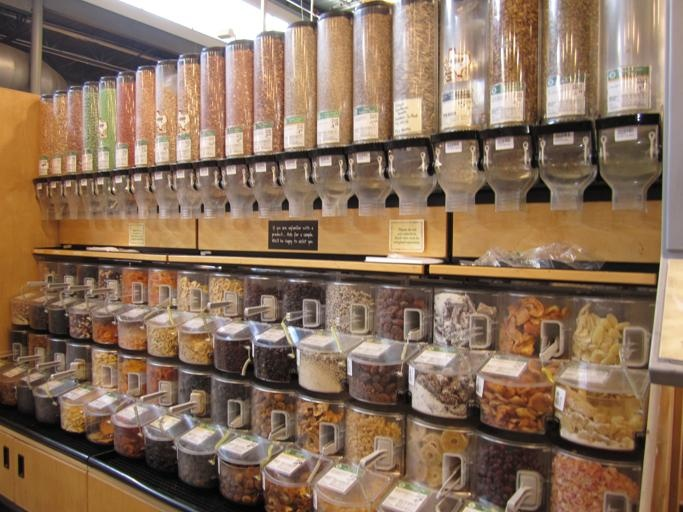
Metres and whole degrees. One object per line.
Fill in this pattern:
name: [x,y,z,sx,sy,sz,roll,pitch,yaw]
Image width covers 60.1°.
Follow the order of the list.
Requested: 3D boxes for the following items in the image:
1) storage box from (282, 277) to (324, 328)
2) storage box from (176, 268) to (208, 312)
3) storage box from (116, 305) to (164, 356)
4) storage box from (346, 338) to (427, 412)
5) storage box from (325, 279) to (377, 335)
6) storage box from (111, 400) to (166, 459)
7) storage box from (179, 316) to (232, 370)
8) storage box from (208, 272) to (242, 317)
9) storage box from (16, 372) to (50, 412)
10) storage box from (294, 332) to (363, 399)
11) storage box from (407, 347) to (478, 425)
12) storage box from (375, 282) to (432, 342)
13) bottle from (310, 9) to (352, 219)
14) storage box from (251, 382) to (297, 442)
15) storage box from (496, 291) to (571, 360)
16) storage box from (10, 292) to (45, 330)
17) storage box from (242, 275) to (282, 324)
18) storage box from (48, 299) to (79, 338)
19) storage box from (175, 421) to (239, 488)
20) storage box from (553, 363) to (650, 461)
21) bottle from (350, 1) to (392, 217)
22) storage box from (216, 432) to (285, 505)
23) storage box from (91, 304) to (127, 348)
storage box: [-0.151,0.199,2.533,0.191,0.208,0.193,1,-4,7]
storage box: [-0.722,0.165,2.839,0.175,0.201,0.178,-2,-4,20]
storage box: [-0.987,0.361,2.898,0.210,0.213,0.218,1,0,-16]
storage box: [0.161,0.443,2.303,0.246,0.177,0.247,1,2,36]
storage box: [0.035,0.210,2.498,0.200,0.205,0.201,3,2,-6]
storage box: [-0.949,0.772,2.698,0.225,0.190,0.266,2,0,45]
storage box: [-0.655,0.395,2.791,0.221,0.226,0.230,2,0,18]
storage box: [-0.528,0.175,2.721,0.176,0.185,0.184,1,2,-6]
storage box: [-1.650,0.714,3.138,0.199,0.183,0.186,3,1,-13]
storage box: [-0.064,0.431,2.363,0.260,0.233,0.200,2,-2,-32]
storage box: [0.360,0.472,2.169,0.235,0.170,0.234,2,4,23]
storage box: [0.242,0.215,2.328,0.208,0.196,0.215,4,-3,-38]
bottle: [-0.033,-0.563,2.336,0.179,0.790,0.142,-2,5,30]
storage box: [-0.285,0.635,2.485,0.204,0.207,0.213,2,2,-33]
storage box: [0.706,0.231,2.166,0.221,0.221,0.222,5,6,29]
storage box: [-1.877,0.317,3.463,0.200,0.191,0.202,4,-1,-4]
storage box: [-0.348,0.190,2.623,0.153,0.197,0.208,1,-1,-15]
storage box: [-1.523,0.338,3.264,0.188,0.180,0.191,2,2,4]
storage box: [-0.578,0.826,2.515,0.223,0.195,0.225,1,0,-25]
storage box: [0.885,0.464,2.083,0.371,0.341,0.242,2,2,33]
bottle: [0.115,-0.569,2.265,0.210,0.802,0.130,-4,4,5]
storage box: [-0.365,0.849,2.428,0.245,0.169,0.247,2,-2,28]
storage box: [-1.196,0.354,2.996,0.164,0.214,0.209,2,1,-5]
